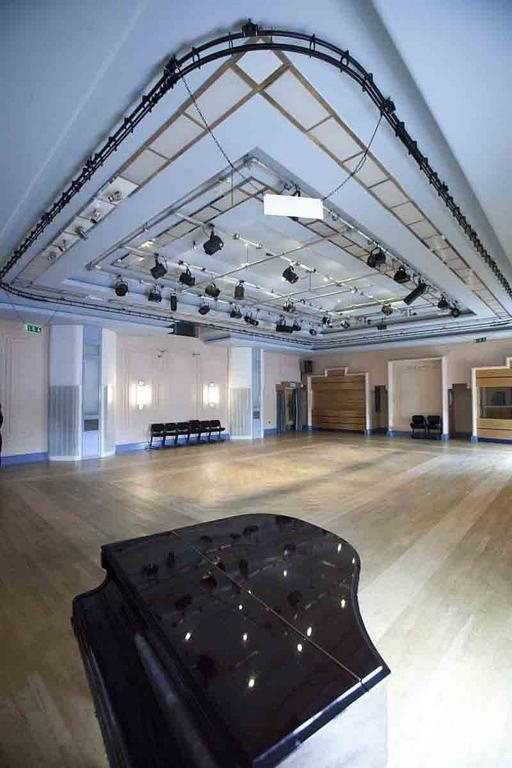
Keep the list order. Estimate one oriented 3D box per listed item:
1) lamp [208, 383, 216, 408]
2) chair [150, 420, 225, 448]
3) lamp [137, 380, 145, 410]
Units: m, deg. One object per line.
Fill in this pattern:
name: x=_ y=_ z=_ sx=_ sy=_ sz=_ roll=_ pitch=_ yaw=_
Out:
lamp: x=-1.381 y=0.367 z=14.119 sx=0.094 sy=0.713 sz=0.421 roll=-1 pitch=-1 yaw=32
chair: x=-2.043 y=1.465 z=12.720 sx=0.666 sy=0.659 sz=2.324 roll=-5 pitch=-2 yaw=31
lamp: x=-3.120 y=0.302 z=12.008 sx=0.066 sy=0.790 sz=0.241 roll=-1 pitch=-1 yaw=31
